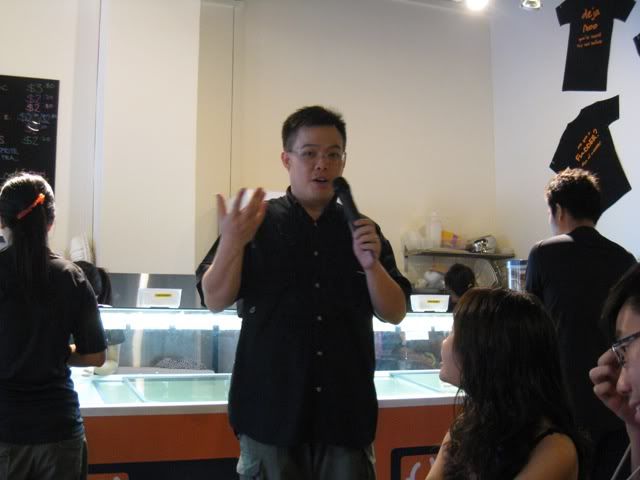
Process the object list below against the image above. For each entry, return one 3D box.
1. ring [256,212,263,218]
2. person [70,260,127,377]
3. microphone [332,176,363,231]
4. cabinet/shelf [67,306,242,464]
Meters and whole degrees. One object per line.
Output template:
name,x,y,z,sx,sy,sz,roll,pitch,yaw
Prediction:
ring,-0.194,-0.078,1.711,0.011,0.022,0.026,2,6,28
person,-1.266,0.381,2.868,0.301,0.266,0.761,12,28,-23
microphone,0.084,-0.131,1.807,0.056,0.227,0.066,-18,-2,-15
cabinet/shelf,-0.708,0.692,2.359,0.660,0.176,0.744,1,43,-14
